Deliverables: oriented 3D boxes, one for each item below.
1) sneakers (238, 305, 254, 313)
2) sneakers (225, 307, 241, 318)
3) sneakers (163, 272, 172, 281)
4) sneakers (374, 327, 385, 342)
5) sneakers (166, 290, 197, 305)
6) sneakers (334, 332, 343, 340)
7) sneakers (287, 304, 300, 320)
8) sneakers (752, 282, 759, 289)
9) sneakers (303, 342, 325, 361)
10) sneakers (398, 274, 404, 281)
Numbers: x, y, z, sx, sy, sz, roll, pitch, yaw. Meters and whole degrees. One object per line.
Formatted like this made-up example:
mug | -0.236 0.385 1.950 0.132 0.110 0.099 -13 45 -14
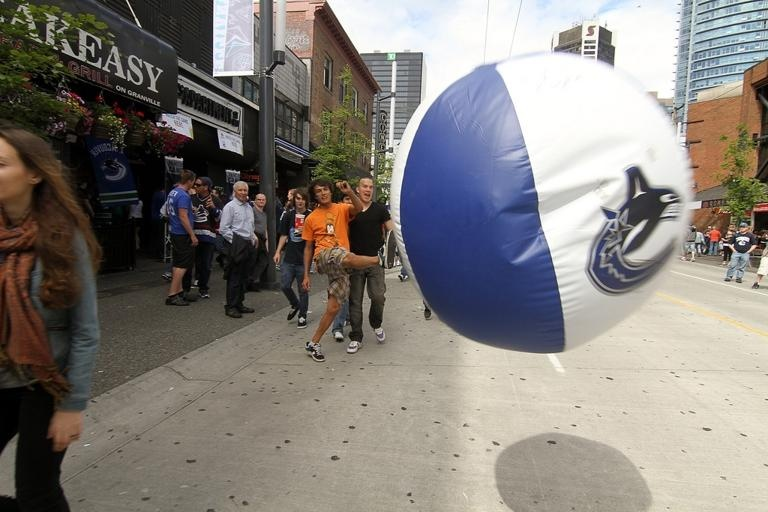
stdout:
sneakers | -2.157 0.831 7.769 0.251 0.090 0.088 0 9 3
sneakers | -2.282 0.856 7.485 0.274 0.107 0.112 3 5 29
sneakers | -4.463 0.423 10.224 0.121 0.139 0.329 16 -1 -42
sneakers | -0.042 1.058 6.690 0.092 0.095 0.246 -10 13 -4
sneakers | -3.281 0.713 8.077 0.501 0.199 0.165 7 24 -34
sneakers | -0.599 1.073 6.722 0.125 0.138 0.122 0 13 -5
sneakers | -1.357 0.850 7.463 0.162 0.353 0.124 4 27 -18
sneakers | 10.588 0.823 13.954 0.100 0.175 0.269 3 20 12
sneakers | -0.814 1.132 5.982 0.369 0.154 0.124 19 13 36
sneakers | 0.477 0.553 12.570 0.061 0.166 0.077 -3 24 12
